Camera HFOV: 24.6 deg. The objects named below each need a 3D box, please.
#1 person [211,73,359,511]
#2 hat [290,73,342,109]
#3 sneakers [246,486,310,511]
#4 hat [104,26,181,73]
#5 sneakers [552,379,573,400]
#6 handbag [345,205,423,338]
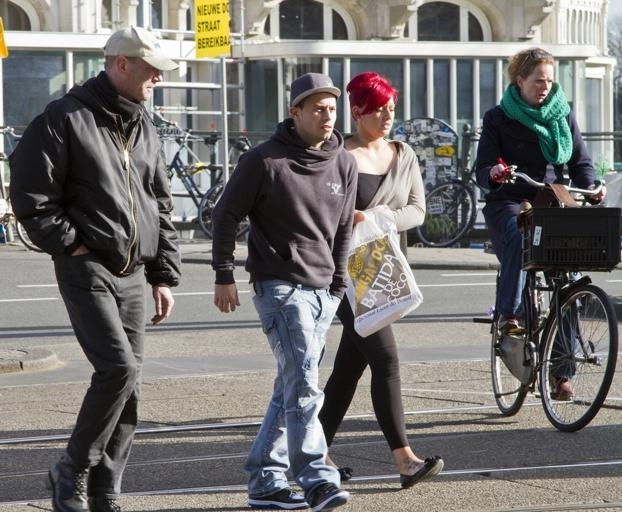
[{"bbox_3d":[-0.107,0.190,8.103,0.877,2.405,0.854,3,11,21],"label":"person"},{"bbox_3d":[0.050,-0.936,8.140,0.222,0.246,0.247,-11,-18,-12],"label":"hat"},{"bbox_3d":[-0.182,1.377,8.098,0.358,0.135,0.124,0,-2,-2],"label":"sneakers"},{"bbox_3d":[-0.952,-1.112,7.856,0.418,0.189,0.249,2,-10,0],"label":"hat"},{"bbox_3d":[1.685,0.903,9.527,0.115,0.128,0.145,0,-4,-23],"label":"sneakers"},{"bbox_3d":[0.412,0.099,8.473,0.501,0.724,0.221,-27,-20,17],"label":"handbag"}]
